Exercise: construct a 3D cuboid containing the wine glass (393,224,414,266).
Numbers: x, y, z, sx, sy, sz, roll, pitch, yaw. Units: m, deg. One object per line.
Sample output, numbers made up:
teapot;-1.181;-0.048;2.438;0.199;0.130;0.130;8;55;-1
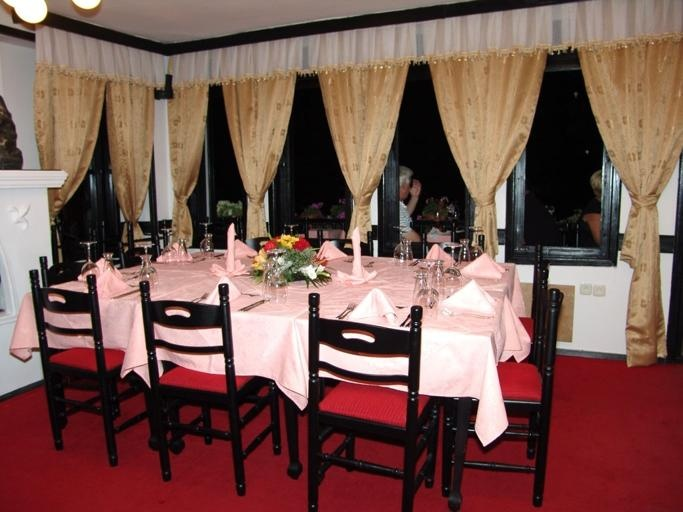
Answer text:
wine glass;0.560;-0.056;4.643;0.171;0.332;0.191;-2;2;42
